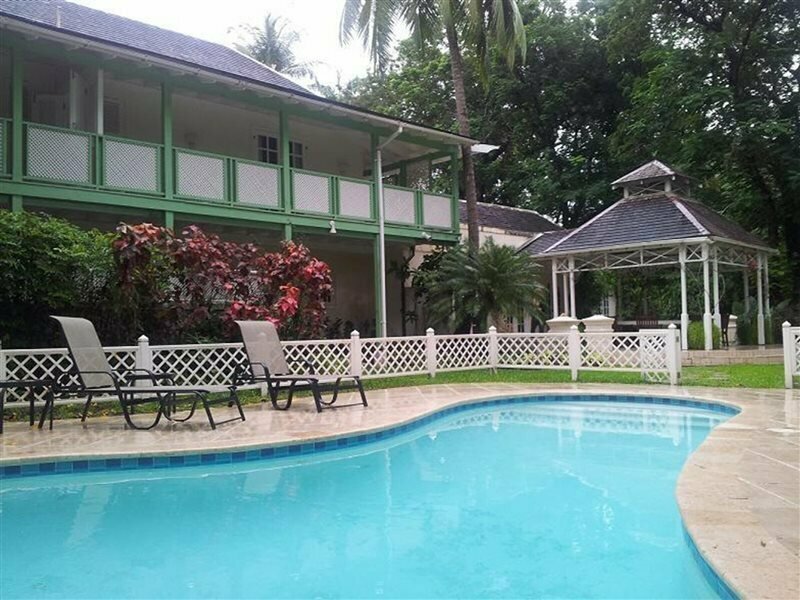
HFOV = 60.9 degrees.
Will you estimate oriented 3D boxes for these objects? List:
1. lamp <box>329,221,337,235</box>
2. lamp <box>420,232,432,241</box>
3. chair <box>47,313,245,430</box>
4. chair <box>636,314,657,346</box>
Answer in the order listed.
[{"bbox_3d":[-1.720,-1.877,17.367,0.167,0.316,0.424,1,6,8],"label":"lamp"},{"bbox_3d":[0.729,-1.837,19.376,0.257,0.163,0.414,3,1,-3],"label":"lamp"},{"bbox_3d":[-3.721,1.051,9.849,2.393,1.493,1.368,1,-4,0],"label":"chair"},{"bbox_3d":[6.595,0.773,18.196,0.562,1.023,0.678,-2,-4,33],"label":"chair"}]
